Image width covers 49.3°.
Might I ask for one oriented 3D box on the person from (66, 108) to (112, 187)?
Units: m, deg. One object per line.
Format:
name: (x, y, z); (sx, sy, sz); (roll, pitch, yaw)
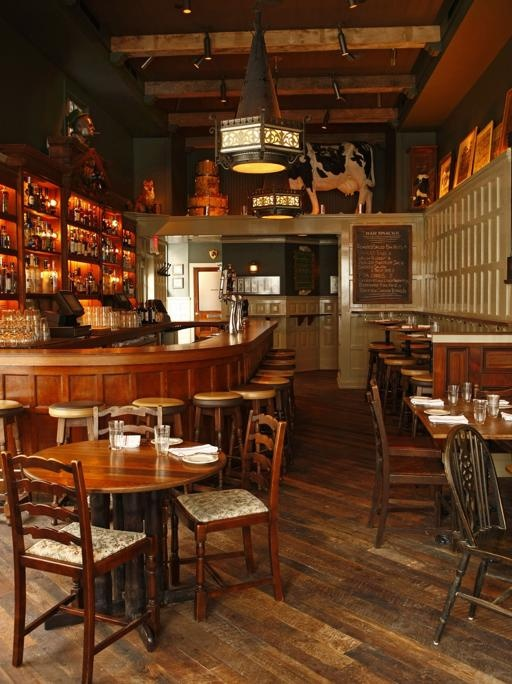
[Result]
person: (-2.163, -2.459, 7.049); (0.420, 0.700, 1.223); (2, 8, 0)

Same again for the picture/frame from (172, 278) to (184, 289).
picture/frame: (-1.732, -1.311, 12.391); (0.197, 0.195, 0.022); (-13, 17, -1)

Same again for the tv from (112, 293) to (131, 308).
tv: (-2.076, -0.628, 8.569); (0.149, 0.281, 0.304); (-9, 8, 8)

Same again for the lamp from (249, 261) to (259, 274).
lamp: (-0.066, -1.462, 10.882); (0.186, 0.258, 0.183); (0, -1, -2)

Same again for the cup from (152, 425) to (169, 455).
cup: (-0.407, 0.428, 2.429); (0.116, 0.145, 0.098); (1, -4, -10)

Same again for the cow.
cow: (1.313, -3.088, 10.753); (1.995, 1.401, 0.496); (-8, 16, -12)

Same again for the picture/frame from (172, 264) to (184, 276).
picture/frame: (-1.714, -1.590, 12.333); (0.261, 0.254, 0.036); (1, 3, 5)

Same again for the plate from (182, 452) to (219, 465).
plate: (-0.230, 0.480, 2.282); (0.151, 0.016, 0.156); (2, 3, 4)
